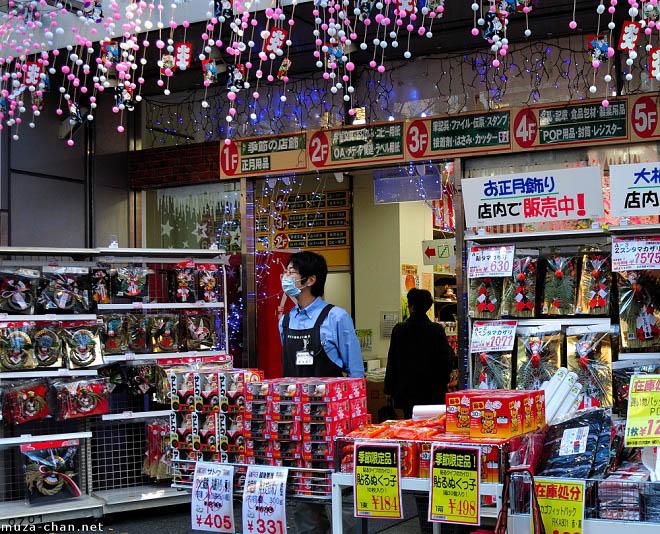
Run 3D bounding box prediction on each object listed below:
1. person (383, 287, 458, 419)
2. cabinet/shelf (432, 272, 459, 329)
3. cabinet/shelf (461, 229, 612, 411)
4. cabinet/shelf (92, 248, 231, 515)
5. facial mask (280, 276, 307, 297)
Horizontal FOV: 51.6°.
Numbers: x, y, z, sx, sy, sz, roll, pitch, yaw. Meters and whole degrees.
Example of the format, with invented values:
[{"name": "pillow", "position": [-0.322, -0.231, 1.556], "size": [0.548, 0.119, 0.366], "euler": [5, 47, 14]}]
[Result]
[{"name": "person", "position": [0.808, 0.789, 6.282], "size": [0.622, 1.178, 0.269], "euler": [-3, -2, 20]}, {"name": "cabinet/shelf", "position": [1.555, 0.404, 9.230], "size": [0.167, 0.625, 0.601], "euler": [-3, -12, 10]}, {"name": "cabinet/shelf", "position": [1.350, 0.323, 4.338], "size": [0.856, 1.267, 0.358], "euler": [-1, -4, 28]}, {"name": "cabinet/shelf", "position": [-1.363, 0.847, 5.540], "size": [1.099, 1.988, 0.870], "euler": [-2, -2, -13]}, {"name": "facial mask", "position": [-0.234, 0.107, 4.010], "size": [0.103, 0.090, 0.104], "euler": [-1, 3, -11]}]
